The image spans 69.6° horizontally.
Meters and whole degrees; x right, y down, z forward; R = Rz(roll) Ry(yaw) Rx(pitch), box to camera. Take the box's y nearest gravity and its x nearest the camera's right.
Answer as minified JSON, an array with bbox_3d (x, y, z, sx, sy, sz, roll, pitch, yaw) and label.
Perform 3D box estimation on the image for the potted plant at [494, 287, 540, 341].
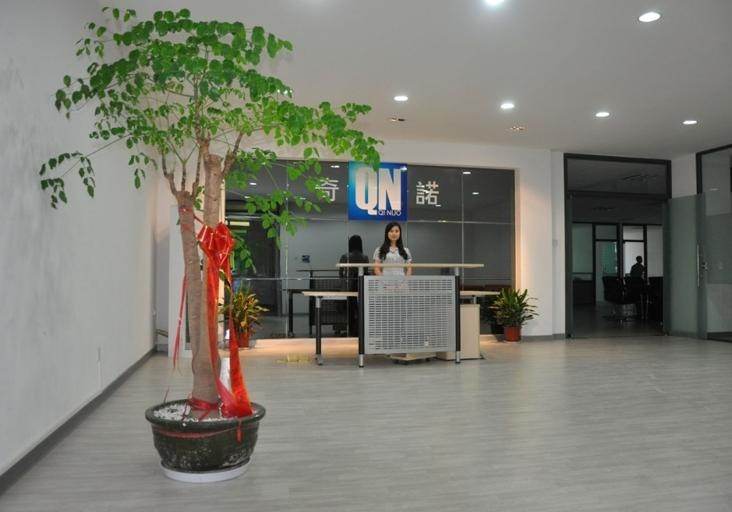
[{"bbox_3d":[2.532,1.037,9.423,0.856,1.064,0.837,2,-9,-10],"label":"potted plant"}]

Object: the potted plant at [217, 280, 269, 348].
[{"bbox_3d":[-1.957,0.960,8.282,0.692,0.922,0.953,1,2,1],"label":"potted plant"}]
